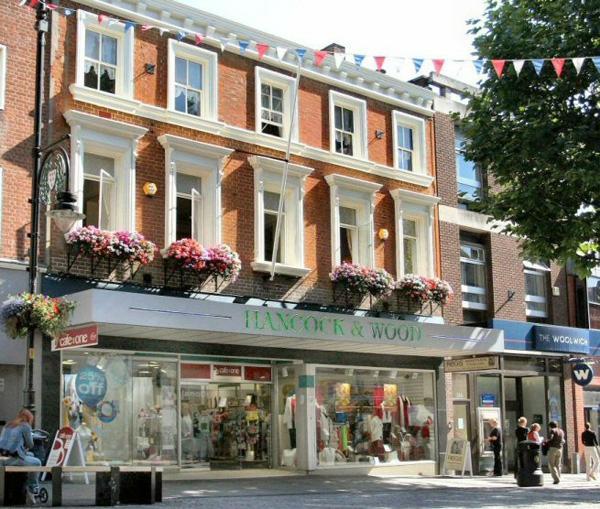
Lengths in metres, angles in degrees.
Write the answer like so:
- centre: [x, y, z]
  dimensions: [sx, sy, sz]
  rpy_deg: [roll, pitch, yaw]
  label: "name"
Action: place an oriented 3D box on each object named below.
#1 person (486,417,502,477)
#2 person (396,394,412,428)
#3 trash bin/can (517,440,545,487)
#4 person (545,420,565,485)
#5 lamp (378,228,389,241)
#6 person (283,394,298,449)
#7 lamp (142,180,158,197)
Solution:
- centre: [5.431, 5.385, 26.527]
  dimensions: [0.361, 1.481, 1.634]
  rpy_deg: [-4, -15, 11]
  label: "person"
- centre: [2.843, 4.289, 26.112]
  dimensions: [0.502, 0.861, 0.136]
  rpy_deg: [12, -19, -41]
  label: "person"
- centre: [5.431, 4.997, 22.711]
  dimensions: [0.597, 1.041, 0.817]
  rpy_deg: [-4, -15, 12]
  label: "trash bin/can"
- centre: [6.599, 5.108, 24.696]
  dimensions: [0.406, 1.652, 1.265]
  rpy_deg: [-5, -15, 14]
  label: "person"
- centre: [2.306, -0.577, 25.998]
  dimensions: [0.296, 0.344, 0.291]
  rpy_deg: [-12, -15, 31]
  label: "lamp"
- centre: [-0.209, 4.288, 24.612]
  dimensions: [0.256, 1.525, 0.596]
  rpy_deg: [15, 24, 21]
  label: "person"
- centre: [-3.408, -1.521, 21.990]
  dimensions: [0.357, 0.334, 0.258]
  rpy_deg: [4, -16, -19]
  label: "lamp"
